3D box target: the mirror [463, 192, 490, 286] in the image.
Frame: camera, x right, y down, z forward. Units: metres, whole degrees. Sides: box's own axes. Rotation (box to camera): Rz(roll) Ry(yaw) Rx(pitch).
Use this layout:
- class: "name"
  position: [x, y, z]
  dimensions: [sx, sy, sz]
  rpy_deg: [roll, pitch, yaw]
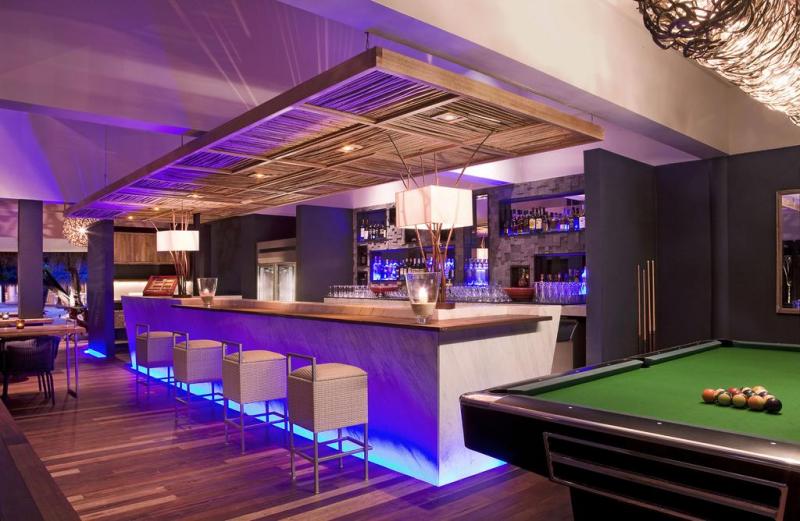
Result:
- class: "mirror"
  position: [1.341, -0.353, 9.249]
  dimensions: [0.415, 1.551, 0.279]
  rpy_deg: [9, 11, 16]

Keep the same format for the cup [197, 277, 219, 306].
- class: "cup"
  position: [-2.617, 0.422, 7.308]
  dimensions: [0.193, 0.380, 0.457]
  rpy_deg: [-3, 5, -22]
